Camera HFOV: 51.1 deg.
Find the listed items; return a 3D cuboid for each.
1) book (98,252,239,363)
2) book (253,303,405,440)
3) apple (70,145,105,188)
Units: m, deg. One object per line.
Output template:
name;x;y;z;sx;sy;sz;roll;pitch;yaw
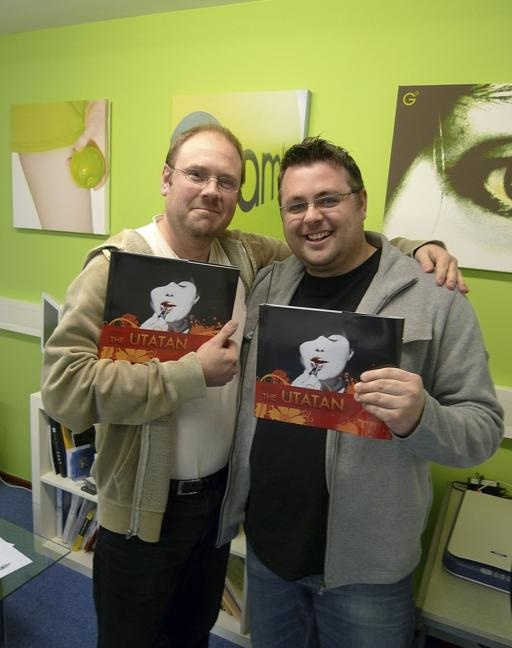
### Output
book;-0.209;-0.030;1.243;0.253;0.243;0.025;11;7;-9
book;0.161;0.097;1.136;0.329;0.261;0.043;6;14;19
apple;-0.795;-0.739;2.548;0.171;0.206;0.163;-4;18;-16
